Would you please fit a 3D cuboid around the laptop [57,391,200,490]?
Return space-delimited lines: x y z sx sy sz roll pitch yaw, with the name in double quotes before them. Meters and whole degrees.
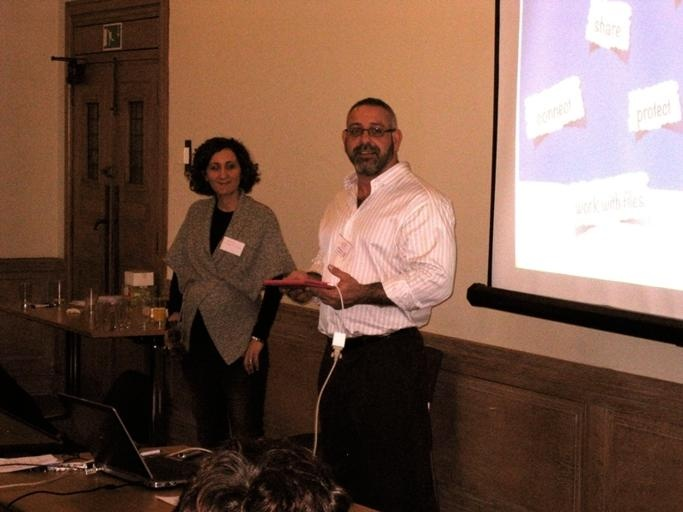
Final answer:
"laptop" -0.654 0.616 2.007 0.404 0.193 0.345 22 12 25
